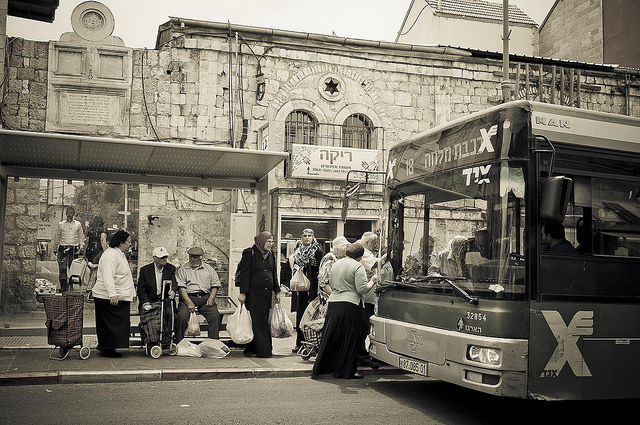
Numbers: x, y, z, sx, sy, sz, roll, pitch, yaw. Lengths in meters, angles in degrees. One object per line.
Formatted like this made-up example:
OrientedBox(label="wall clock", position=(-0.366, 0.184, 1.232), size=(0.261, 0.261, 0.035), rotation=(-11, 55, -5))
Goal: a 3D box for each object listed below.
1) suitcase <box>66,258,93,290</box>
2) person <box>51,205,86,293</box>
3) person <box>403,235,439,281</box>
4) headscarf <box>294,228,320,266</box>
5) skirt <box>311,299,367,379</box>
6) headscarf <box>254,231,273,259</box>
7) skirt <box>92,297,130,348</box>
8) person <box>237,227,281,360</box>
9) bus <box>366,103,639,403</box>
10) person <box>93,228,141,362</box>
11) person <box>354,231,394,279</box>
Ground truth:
OrientedBox(label="suitcase", position=(-7.002, 1.809, 22.674), size=(0.626, 0.966, 0.993), rotation=(0, 8, -4))
OrientedBox(label="person", position=(-7.262, 1.014, 22.586), size=(0.908, 2.410, 0.453), rotation=(-10, 18, -44))
OrientedBox(label="person", position=(1.942, 0.876, 14.956), size=(0.752, 0.924, 0.531), rotation=(3, -18, 9))
OrientedBox(label="headscarf", position=(-0.358, 0.860, 18.676), size=(0.588, 0.777, 0.309), rotation=(1, -5, 0))
OrientedBox(label="skirt", position=(0.436, 2.560, 16.287), size=(1.020, 1.575, 1.031), rotation=(4, -1, 12))
OrientedBox(label="headscarf", position=(-1.306, 0.681, 17.538), size=(0.529, 0.653, 0.483), rotation=(-7, -5, 23))
OrientedBox(label="skirt", position=(-4.425, 2.326, 16.888), size=(0.707, 1.094, 0.654), rotation=(0, -4, 10))
OrientedBox(label="person", position=(-1.360, 1.861, 17.457), size=(0.902, 2.722, 0.979), rotation=(2, 13, -5))
OrientedBox(label="bus", position=(3.607, 1.035, 15.620), size=(7.367, 4.622, 4.893), rotation=(2, -8, -17))
OrientedBox(label="person", position=(-4.375, 1.808, 16.687), size=(0.823, 2.713, 0.782), rotation=(-4, 14, -26))
OrientedBox(label="person", position=(1.124, 0.903, 16.238), size=(0.618, 1.036, 0.869), rotation=(-13, 8, -10))
